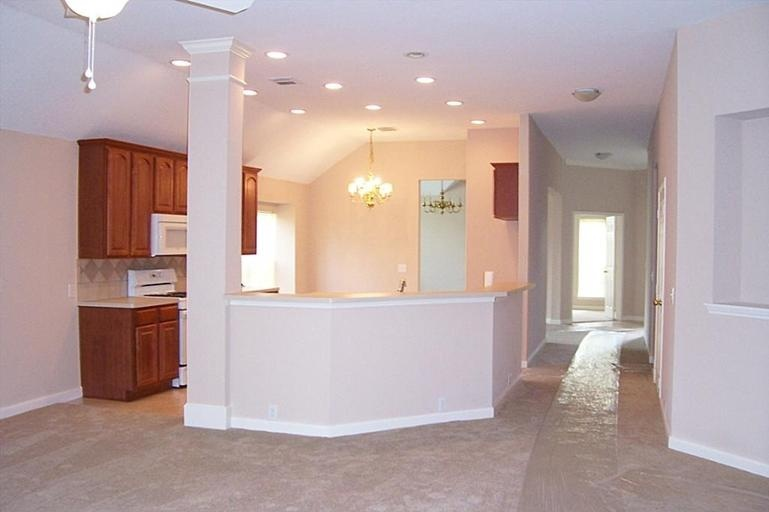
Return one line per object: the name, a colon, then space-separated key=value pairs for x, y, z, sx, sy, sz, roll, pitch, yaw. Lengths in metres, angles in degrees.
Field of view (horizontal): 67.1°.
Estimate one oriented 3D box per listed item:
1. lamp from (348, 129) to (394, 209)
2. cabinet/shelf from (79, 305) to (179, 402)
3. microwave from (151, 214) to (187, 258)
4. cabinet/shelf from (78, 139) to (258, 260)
lamp: x=-0.246 y=-1.554 z=10.529 sx=0.785 sy=1.375 sz=1.376 roll=0 pitch=7 yaw=-2
cabinet/shelf: x=-3.258 y=1.166 z=7.739 sx=1.145 sy=1.564 sz=1.176 roll=0 pitch=0 yaw=13
microwave: x=-2.876 y=-0.284 z=7.702 sx=0.321 sy=0.516 sz=0.613 roll=0 pitch=-1 yaw=18
cabinet/shelf: x=-2.745 y=-0.694 z=7.020 sx=0.387 sy=0.987 sz=1.702 roll=-1 pitch=-1 yaw=24
